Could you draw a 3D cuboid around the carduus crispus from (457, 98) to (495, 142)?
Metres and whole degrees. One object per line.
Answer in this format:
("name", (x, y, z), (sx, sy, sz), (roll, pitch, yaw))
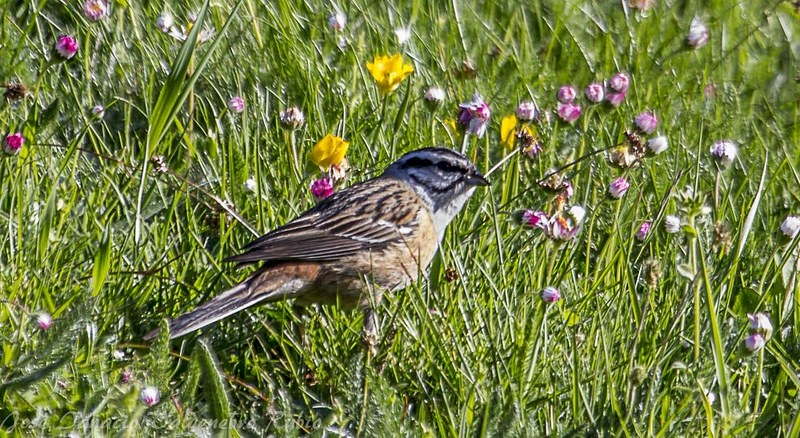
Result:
("carduus crispus", (0.523, -0.760, 6.715), (0.260, 0.146, 0.189), (-17, 51, -25))

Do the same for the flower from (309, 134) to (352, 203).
("flower", (-0.485, -0.361, 6.662), (0.196, 0.541, 0.281), (4, 4, 12))

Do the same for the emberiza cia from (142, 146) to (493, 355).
("emberiza cia", (-0.321, 0.107, 6.585), (0.852, 0.933, 2.061), (41, 42, 14))

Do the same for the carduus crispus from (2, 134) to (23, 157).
("carduus crispus", (-2.485, -0.482, 6.178), (0.119, 0.149, 0.123), (4, 46, -26))

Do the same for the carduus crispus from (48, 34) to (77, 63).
("carduus crispus", (-2.281, -1.163, 6.571), (0.158, 0.173, 0.163), (34, 40, 6))
